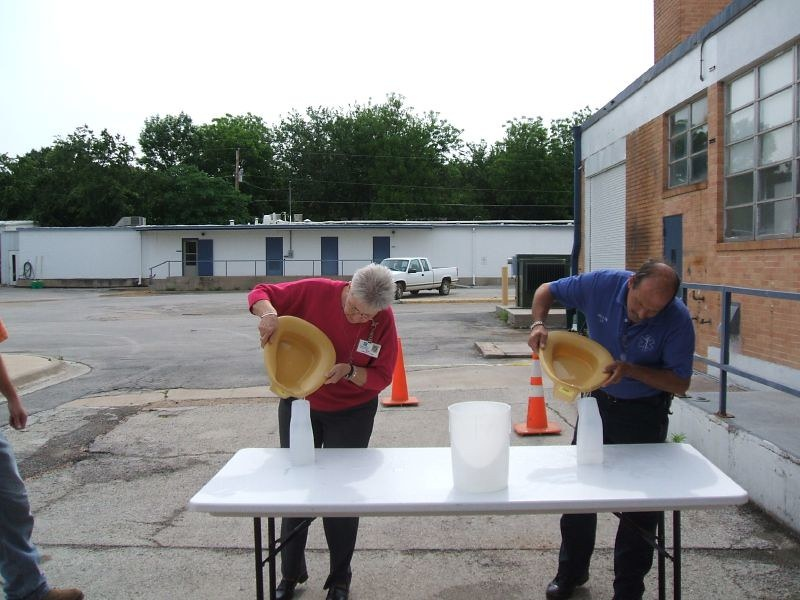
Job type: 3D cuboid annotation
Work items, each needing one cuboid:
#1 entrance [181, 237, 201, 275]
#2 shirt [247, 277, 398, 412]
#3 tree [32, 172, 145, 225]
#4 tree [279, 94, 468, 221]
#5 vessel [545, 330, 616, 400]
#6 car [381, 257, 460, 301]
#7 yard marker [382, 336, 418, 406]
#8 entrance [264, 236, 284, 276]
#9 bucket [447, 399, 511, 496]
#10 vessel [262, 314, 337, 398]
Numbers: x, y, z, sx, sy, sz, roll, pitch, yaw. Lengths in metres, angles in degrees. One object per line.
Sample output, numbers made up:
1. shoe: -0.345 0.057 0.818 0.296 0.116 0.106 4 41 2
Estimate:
1. entrance: -10.296 -2.026 34.923 0.811 2.085 0.249 -1 -17 -15
2. shirt: -0.598 0.255 4.428 0.250 0.566 0.674 -21 -1 40
3. tree: -19.941 -6.634 45.576 6.987 3.570 2.684 1 3 29
4. tree: -2.412 -11.445 58.017 14.653 10.558 8.457 2 3 36
5. vessel: 1.045 0.392 4.265 0.428 0.374 0.475 1 3 24
6. car: 0.718 -0.786 27.144 1.551 1.023 2.785 -1 0 44
7. yard marker: -0.026 0.882 8.370 0.526 0.653 0.474 -2 0 -22
8. entrance: -6.112 -1.943 34.592 0.850 1.866 0.062 0 -18 -11
9. bucket: 0.356 0.833 4.017 0.429 0.496 0.442 -1 -2 0
10. vessel: -0.589 0.340 4.268 0.450 0.477 0.379 -1 3 -13
